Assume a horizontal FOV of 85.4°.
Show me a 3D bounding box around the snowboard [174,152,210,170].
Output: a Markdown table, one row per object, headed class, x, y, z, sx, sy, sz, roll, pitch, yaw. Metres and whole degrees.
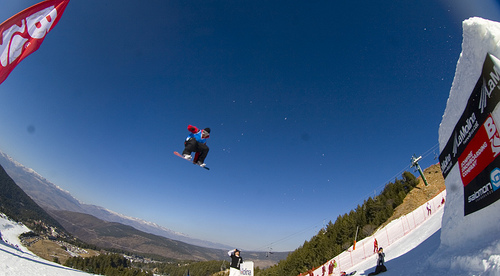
| class | x | y | z | sx | sy | sz | roll | pitch | yaw |
| --- | --- | --- | --- | --- | --- | --- | --- | --- | --- |
| snowboard | -5.276 | 1.499 | 25.834 | 4.716 | 0.220 | 0.627 | 28 | -16 | 12 |
